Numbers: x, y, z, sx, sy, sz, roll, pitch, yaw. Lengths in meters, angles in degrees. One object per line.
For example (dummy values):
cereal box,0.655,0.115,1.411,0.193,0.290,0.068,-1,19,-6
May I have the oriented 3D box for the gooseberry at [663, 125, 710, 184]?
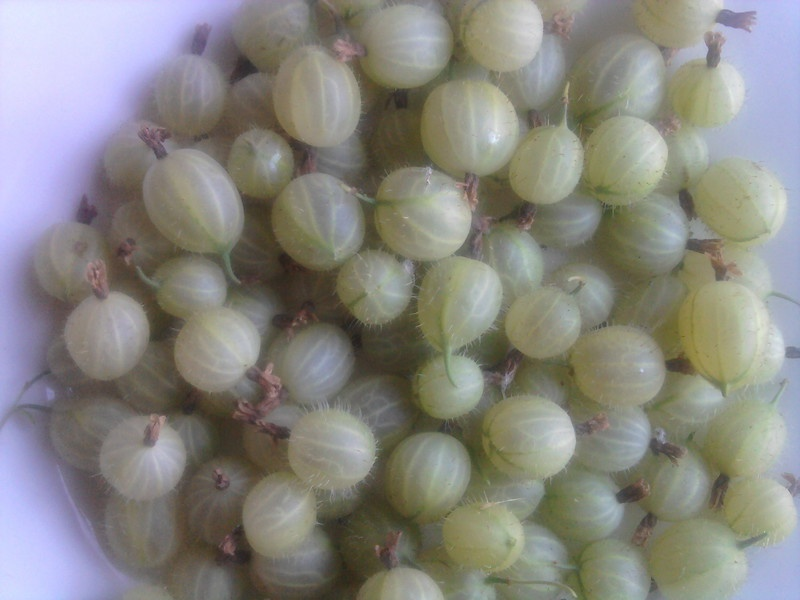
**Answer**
gooseberry,0.700,-0.377,2.325,0.067,0.106,0.131,15,73,39
